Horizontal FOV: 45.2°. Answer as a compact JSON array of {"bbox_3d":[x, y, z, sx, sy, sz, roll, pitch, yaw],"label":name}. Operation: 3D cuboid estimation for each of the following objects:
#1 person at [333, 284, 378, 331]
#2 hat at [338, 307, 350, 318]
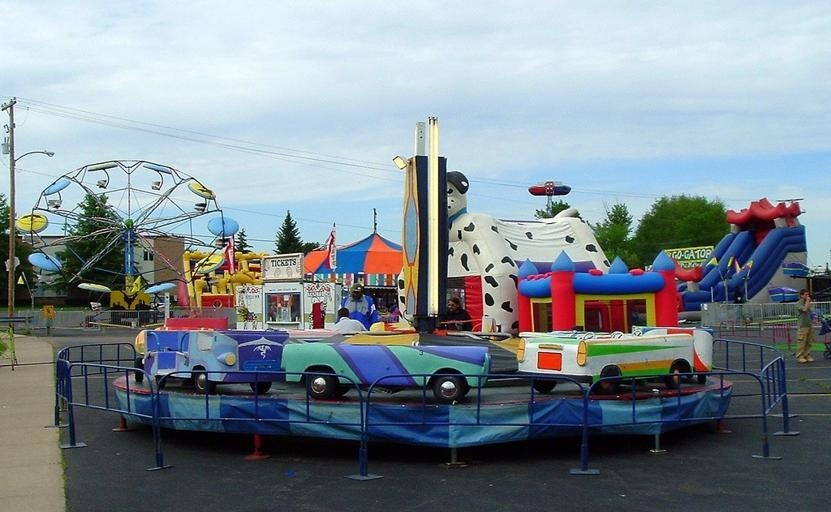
[{"bbox_3d":[-1.490,1.253,25.694,0.885,1.042,1.359,-1,8,-3],"label":"person"},{"bbox_3d":[-1.761,1.379,23.924,0.225,0.307,0.235,6,25,-4],"label":"hat"}]
